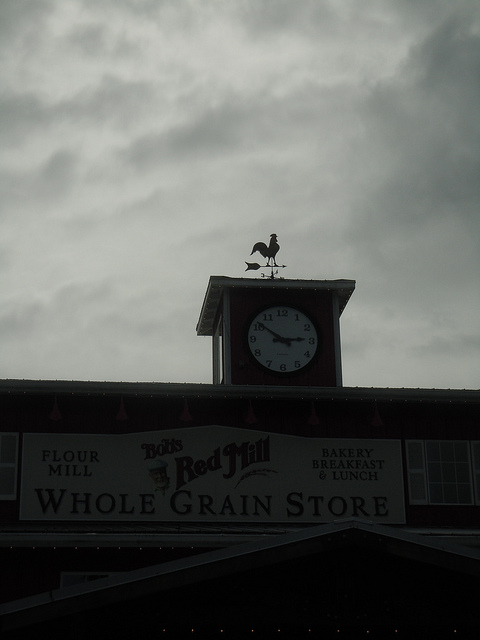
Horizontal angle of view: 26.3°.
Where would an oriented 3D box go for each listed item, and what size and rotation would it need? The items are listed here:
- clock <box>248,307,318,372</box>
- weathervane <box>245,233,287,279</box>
[{"bbox_3d":[0.948,0.420,22.543,1.494,1.480,0.742,1,-6,2],"label":"clock"},{"bbox_3d":[1.043,-1.638,24.562,0.872,2.150,1.740,-1,-5,0],"label":"weathervane"}]
